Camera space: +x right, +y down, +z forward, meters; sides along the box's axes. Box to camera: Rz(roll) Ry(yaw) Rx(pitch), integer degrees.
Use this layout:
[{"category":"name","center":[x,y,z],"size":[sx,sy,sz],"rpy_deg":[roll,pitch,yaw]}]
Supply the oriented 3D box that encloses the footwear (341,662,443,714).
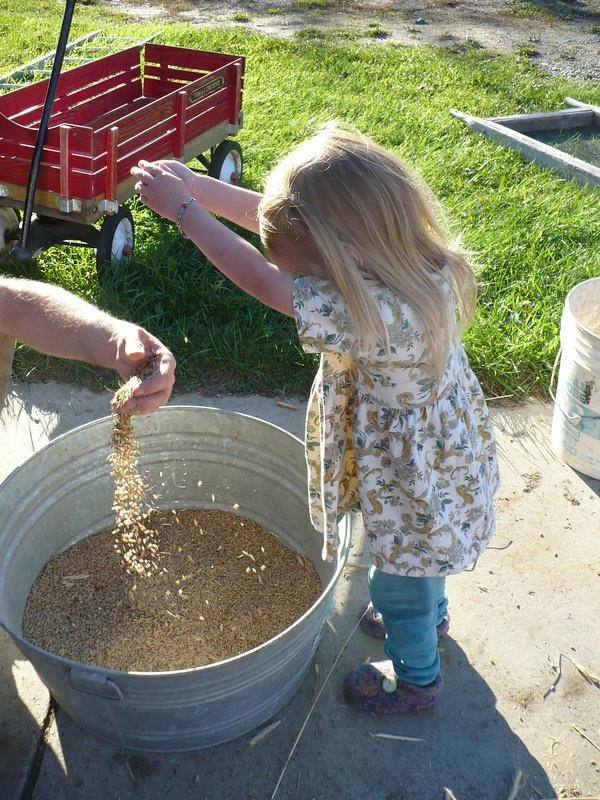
[{"category":"footwear","center":[0.250,0.794,2.173],"size":[0.253,0.091,0.119],"rpy_deg":[1,44,-2]}]

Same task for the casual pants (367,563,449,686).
[{"category":"casual pants","center":[0.286,0.601,2.089],"size":[0.174,0.449,0.205],"rpy_deg":[-4,41,3]}]

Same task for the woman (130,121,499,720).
[{"category":"woman","center":[0.108,0.094,2.058],"size":[0.830,1.515,0.468],"rpy_deg":[24,38,31]}]
